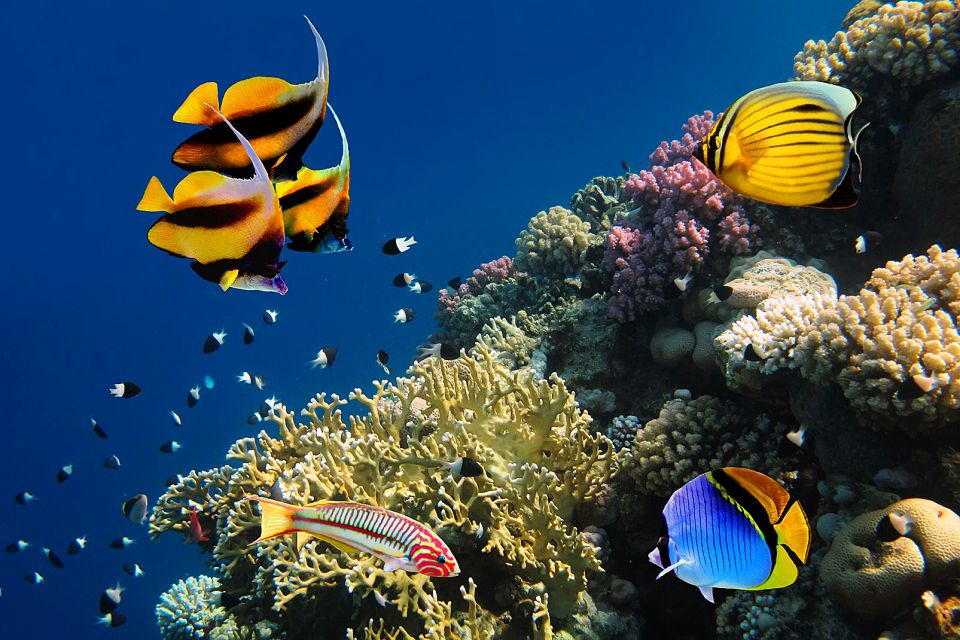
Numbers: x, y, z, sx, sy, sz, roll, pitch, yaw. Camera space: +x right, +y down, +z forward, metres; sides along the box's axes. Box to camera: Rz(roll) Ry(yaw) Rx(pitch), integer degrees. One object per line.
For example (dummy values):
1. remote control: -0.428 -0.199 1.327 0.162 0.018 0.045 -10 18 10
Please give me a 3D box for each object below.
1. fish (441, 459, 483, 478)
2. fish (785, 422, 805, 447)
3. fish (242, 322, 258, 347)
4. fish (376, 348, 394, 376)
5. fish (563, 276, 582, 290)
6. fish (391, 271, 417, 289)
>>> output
1. fish: -0.121 1.382 13.331 0.231 0.214 0.153 -1 77 3
2. fish: 3.102 1.097 13.831 0.215 0.121 0.247 -8 69 63
3. fish: -1.974 0.103 12.146 0.131 0.053 0.165 -29 59 21
4. fish: -1.144 0.455 17.208 0.153 0.359 0.479 -10 36 0
5. fish: 1.139 -0.508 17.036 0.153 0.080 0.185 5 47 20
6. fish: -0.877 -0.534 16.495 0.330 0.220 0.172 -4 35 11
